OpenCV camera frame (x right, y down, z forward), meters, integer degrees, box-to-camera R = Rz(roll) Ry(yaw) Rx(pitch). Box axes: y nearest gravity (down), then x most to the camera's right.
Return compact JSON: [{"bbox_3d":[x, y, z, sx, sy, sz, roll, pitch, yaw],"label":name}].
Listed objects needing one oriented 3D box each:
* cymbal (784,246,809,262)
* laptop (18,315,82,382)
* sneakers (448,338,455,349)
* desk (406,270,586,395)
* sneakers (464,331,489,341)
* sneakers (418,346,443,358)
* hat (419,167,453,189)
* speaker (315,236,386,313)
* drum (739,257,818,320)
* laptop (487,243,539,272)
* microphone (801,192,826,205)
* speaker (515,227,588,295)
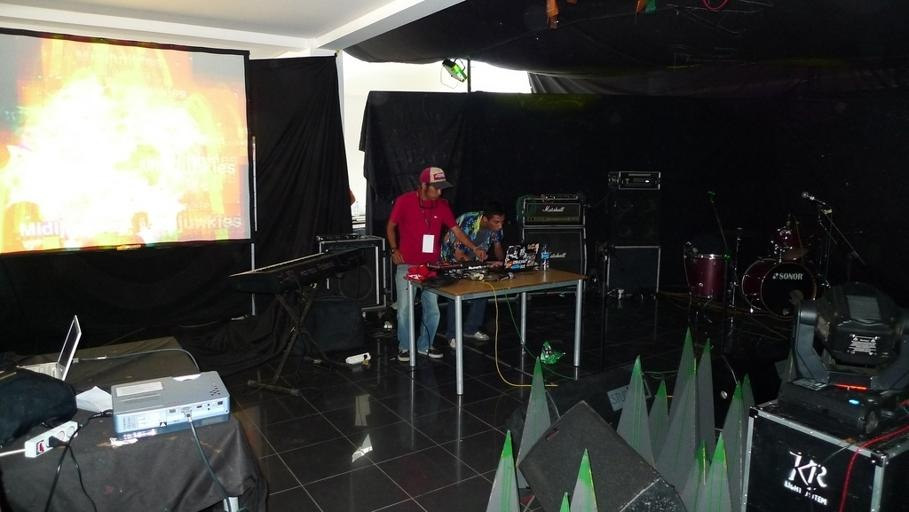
[{"bbox_3d":[4.342,-0.037,7.416,0.210,0.049,0.214,-19,11,-23],"label":"cymbal"},{"bbox_3d":[-3.001,0.728,4.549,0.565,0.375,0.520,6,3,-32],"label":"laptop"},{"bbox_3d":[-0.030,1.067,7.139,0.101,0.127,0.139,1,-2,-13],"label":"sneakers"},{"bbox_3d":[0.525,0.781,6.611,1.863,1.173,1.007,-8,9,-29],"label":"desk"},{"bbox_3d":[0.298,0.999,7.441,0.260,0.089,0.120,0,2,33],"label":"sneakers"},{"bbox_3d":[-0.282,1.141,6.962,0.297,0.111,0.116,0,1,12],"label":"sneakers"},{"bbox_3d":[-0.230,-0.913,6.820,0.374,0.176,0.243,11,20,27],"label":"hat"},{"bbox_3d":[-1.287,0.166,8.056,1.087,1.230,0.816,-3,6,-21],"label":"speaker"},{"bbox_3d":[3.986,0.399,7.147,0.710,0.663,0.394,6,10,-4],"label":"drum"},{"bbox_3d":[0.674,0.007,6.761,0.393,0.232,0.383,-3,6,-22],"label":"laptop"},{"bbox_3d":[4.523,-0.729,7.363,0.240,0.192,0.301,-1,8,15],"label":"microphone"},{"bbox_3d":[1.437,0.174,8.576,1.247,1.168,0.646,-1,8,-3],"label":"speaker"}]
